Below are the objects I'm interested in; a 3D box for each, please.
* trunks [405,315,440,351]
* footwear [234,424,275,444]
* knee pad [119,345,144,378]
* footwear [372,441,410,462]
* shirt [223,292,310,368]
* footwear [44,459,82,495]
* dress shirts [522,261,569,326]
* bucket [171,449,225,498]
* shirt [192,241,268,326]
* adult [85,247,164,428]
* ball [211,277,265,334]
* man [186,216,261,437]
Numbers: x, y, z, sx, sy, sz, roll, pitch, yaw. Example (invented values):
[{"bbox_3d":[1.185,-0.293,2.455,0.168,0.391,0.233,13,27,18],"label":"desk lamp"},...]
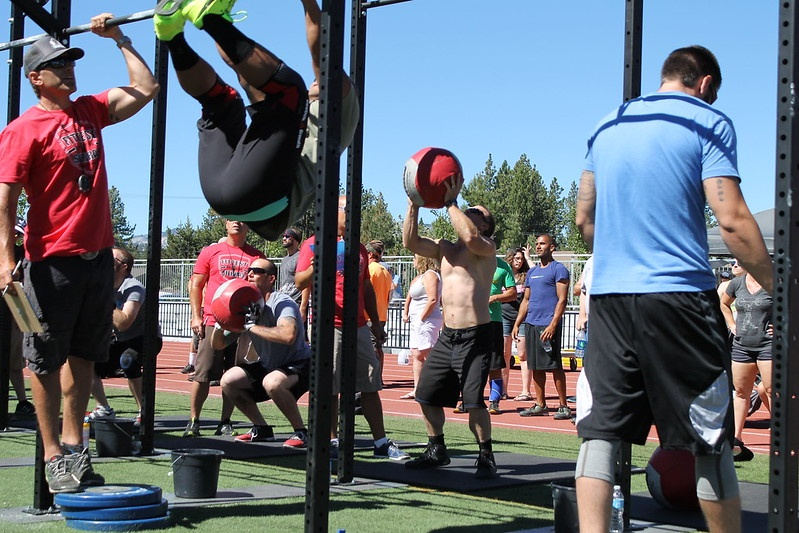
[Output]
[{"bbox_3d":[0.394,1.095,12.003,0.416,0.679,0.684,7,-9,-21],"label":"trunks"},{"bbox_3d":[-1.711,1.942,8.883,0.439,0.196,0.192,4,-6,-11],"label":"footwear"},{"bbox_3d":[-3.285,1.171,9.172,0.152,0.370,0.271,-21,-43,17],"label":"knee pad"},{"bbox_3d":[-0.100,1.957,8.101,0.414,0.188,0.160,2,-2,19],"label":"footwear"},{"bbox_3d":[-1.492,0.797,8.652,0.783,0.960,0.874,-3,-3,-33],"label":"shirt"},{"bbox_3d":[-2.438,1.470,5.407,0.271,0.263,0.097,0,-6,4],"label":"footwear"},{"bbox_3d":[2.258,0.422,11.897,0.380,1.020,0.802,29,-34,-28],"label":"dress shirts"},{"bbox_3d":[-1.648,1.675,6.179,0.351,0.287,0.376,0,-12,0],"label":"bucket"},{"bbox_3d":[-1.999,0.197,8.837,0.969,1.153,0.412,0,-7,-2],"label":"shirt"},{"bbox_3d":[-3.444,0.830,9.269,1.031,2.163,0.950,4,-12,-36],"label":"adult"},{"bbox_3d":[-1.623,0.397,7.629,0.375,0.529,0.470,13,-13,46],"label":"ball"},{"bbox_3d":[-2.226,0.682,9.707,1.014,2.951,0.912,7,-12,-24],"label":"man"}]
